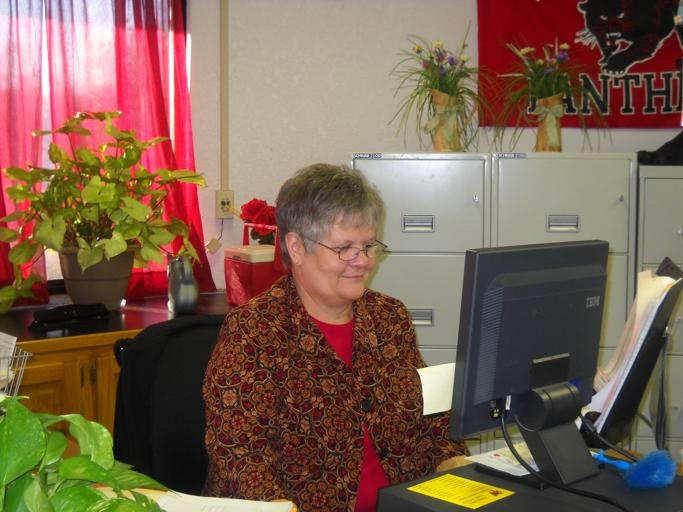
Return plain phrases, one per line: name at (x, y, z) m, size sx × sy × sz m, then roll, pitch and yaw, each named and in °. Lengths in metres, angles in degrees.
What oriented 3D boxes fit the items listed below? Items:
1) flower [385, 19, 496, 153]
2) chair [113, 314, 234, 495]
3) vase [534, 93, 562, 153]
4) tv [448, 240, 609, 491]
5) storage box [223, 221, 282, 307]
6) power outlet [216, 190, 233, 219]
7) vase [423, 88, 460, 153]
flower at (0.547, -0.799, 2.800) m, size 0.365 × 0.517 × 0.480 m, roll 18°, pitch 28°, yaw 23°
chair at (-0.533, 0.401, 1.564) m, size 0.241 × 0.427 × 0.260 m, roll -4°, pitch 4°, yaw -7°
vase at (1.036, -0.660, 2.727) m, size 0.128 × 0.271 × 0.103 m, roll 2°, pitch 9°, yaw 20°
tv at (0.439, 0.217, 1.149) m, size 0.357 × 0.485 × 0.204 m, roll -6°, pitch 13°, yaw -18°
storage box at (-0.422, 0.052, 2.604) m, size 0.192 × 0.386 × 0.349 m, roll -6°, pitch 13°, yaw -43°
power outlet at (-0.677, -0.302, 3.127) m, size 0.122 × 0.196 × 0.096 m, roll 0°, pitch 16°, yaw -21°
vase at (0.509, -0.666, 2.710) m, size 0.152 × 0.306 × 0.169 m, roll 3°, pitch 9°, yaw 23°
